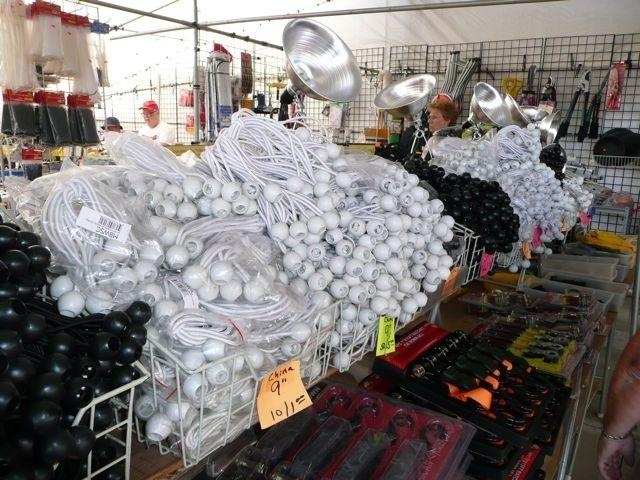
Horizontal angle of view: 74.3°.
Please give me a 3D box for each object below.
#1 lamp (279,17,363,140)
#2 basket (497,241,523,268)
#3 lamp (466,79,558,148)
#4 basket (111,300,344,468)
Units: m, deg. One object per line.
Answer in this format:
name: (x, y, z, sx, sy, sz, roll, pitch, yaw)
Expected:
lamp: (-0.003, -0.671, 1.723, 0.319, 0.341, 0.124, 5, -22, -32)
basket: (0.800, 0.057, 1.781, 0.076, 0.102, 0.093, 4, -17, 1)
lamp: (1.378, -0.872, 2.986, 0.481, 0.374, 0.713, 6, 11, 35)
basket: (-0.171, 0.194, 0.860, 0.234, 0.185, 0.376, 19, 29, 40)
